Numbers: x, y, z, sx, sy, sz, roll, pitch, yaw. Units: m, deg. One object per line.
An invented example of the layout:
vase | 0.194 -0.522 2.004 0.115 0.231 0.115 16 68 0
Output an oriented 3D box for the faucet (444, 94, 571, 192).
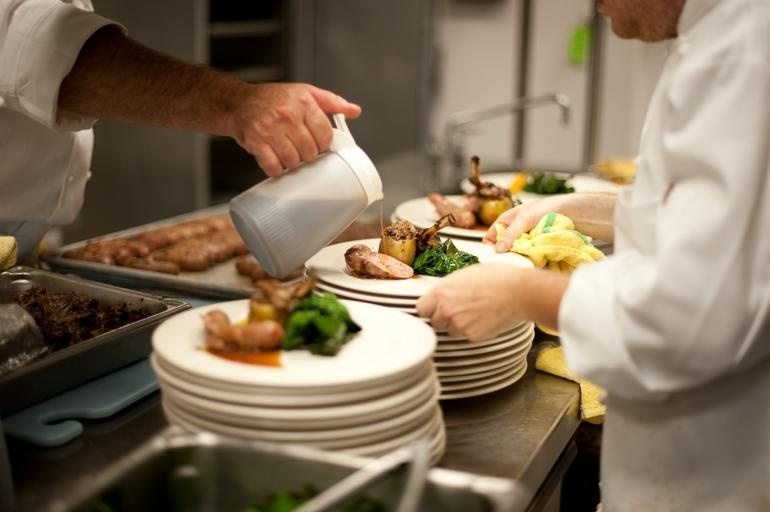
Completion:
faucet | 0.459 -0.493 2.153 0.495 0.244 0.103 -4 41 7
